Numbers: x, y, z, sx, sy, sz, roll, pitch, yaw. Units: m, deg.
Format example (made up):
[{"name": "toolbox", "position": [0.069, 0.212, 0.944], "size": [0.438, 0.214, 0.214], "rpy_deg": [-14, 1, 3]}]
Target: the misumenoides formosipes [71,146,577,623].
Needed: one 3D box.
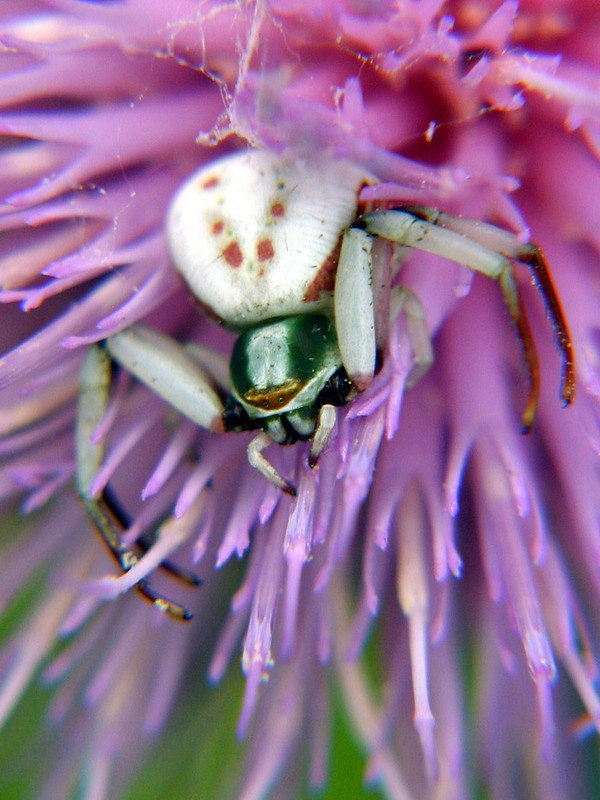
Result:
[{"name": "misumenoides formosipes", "position": [0.001, -0.061, 0.564], "size": [0.093, 0.256, 0.309], "rpy_deg": [4, 59, -61]}]
